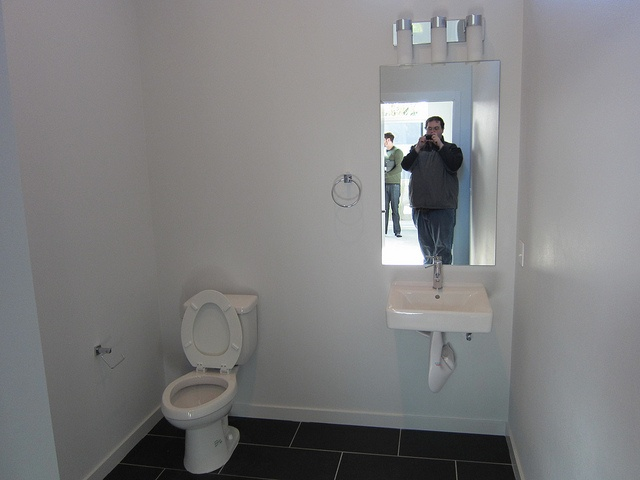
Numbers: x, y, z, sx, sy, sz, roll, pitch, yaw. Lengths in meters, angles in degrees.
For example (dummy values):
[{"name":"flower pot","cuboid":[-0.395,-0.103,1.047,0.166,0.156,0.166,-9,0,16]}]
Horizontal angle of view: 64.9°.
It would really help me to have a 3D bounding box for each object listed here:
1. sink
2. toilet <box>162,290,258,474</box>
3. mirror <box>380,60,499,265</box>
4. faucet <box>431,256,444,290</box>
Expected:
[{"name":"sink","cuboid":[0.683,0.472,2.958,0.568,0.334,0.452,0,14,11]},{"name":"toilet","cuboid":[-0.681,0.827,3.113,0.497,0.973,0.692,-1,13,5]},{"name":"mirror","cuboid":[0.713,-0.443,3.035,0.704,1.198,0.102,0,13,8]},{"name":"faucet","cuboid":[0.713,0.188,3.045,0.056,0.196,0.102,1,13,15]}]
